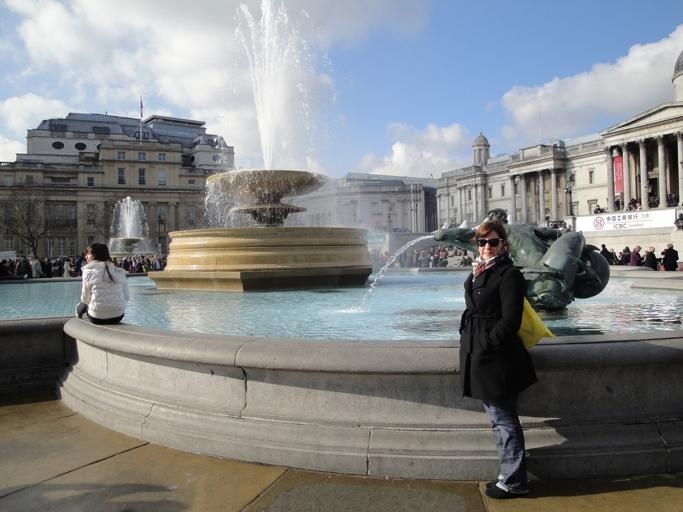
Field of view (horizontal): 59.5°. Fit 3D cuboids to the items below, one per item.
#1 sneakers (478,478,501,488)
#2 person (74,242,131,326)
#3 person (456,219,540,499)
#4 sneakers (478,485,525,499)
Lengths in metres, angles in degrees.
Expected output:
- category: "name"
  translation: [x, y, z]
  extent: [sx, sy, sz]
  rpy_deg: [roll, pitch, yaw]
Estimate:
- category: "sneakers"
  translation: [1.034, 1.580, 4.158]
  extent: [0.053, 0.059, 0.145]
  rpy_deg: [-7, -20, 32]
- category: "person"
  translation: [-2.310, 0.264, 5.807]
  extent: [0.415, 0.779, 0.416]
  rpy_deg: [-4, 6, -21]
- category: "person"
  translation: [1.067, 0.695, 4.149]
  extent: [0.505, 1.871, 0.399]
  rpy_deg: [2, 7, 33]
- category: "sneakers"
  translation: [1.080, 1.615, 4.060]
  extent: [0.271, 0.102, 0.096]
  rpy_deg: [8, -5, 2]
